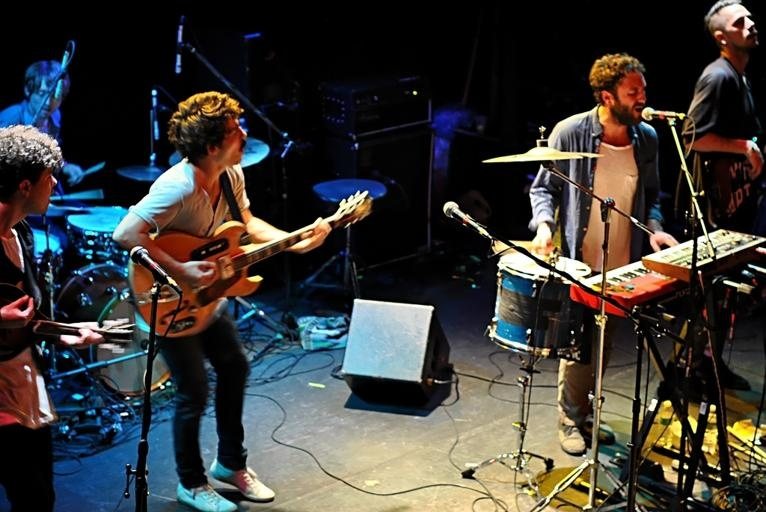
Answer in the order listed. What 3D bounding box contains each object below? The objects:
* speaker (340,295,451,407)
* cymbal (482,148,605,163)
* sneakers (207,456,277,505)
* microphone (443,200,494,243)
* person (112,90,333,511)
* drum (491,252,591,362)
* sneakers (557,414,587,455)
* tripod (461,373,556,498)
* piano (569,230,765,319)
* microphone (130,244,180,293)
[{"bbox_3d":[0.227,0.976,6.437,1.008,0.748,0.976,3,-26,18],"label":"speaker"},{"bbox_3d":[1.217,-0.710,4.735,0.481,0.091,0.459,-6,10,-35],"label":"cymbal"},{"bbox_3d":[-1.036,1.703,5.087,0.636,0.236,0.218,22,24,-4],"label":"sneakers"},{"bbox_3d":[0.569,-0.203,4.247,0.321,0.276,0.458,4,13,13],"label":"microphone"},{"bbox_3d":[-1.250,0.364,4.802,1.183,3.010,0.699,-8,16,-28],"label":"person"},{"bbox_3d":[1.235,0.370,5.189,0.760,0.582,0.721,2,10,0],"label":"drum"},{"bbox_3d":[1.577,1.501,5.563,0.148,0.145,0.377,-2,14,-6],"label":"sneakers"},{"bbox_3d":[1.057,1.545,5.601,0.598,0.778,0.609,18,43,22],"label":"tripod"},{"bbox_3d":[2.125,0.126,4.852,1.469,0.495,0.541,-5,14,-22],"label":"piano"},{"bbox_3d":[-1.463,0.079,4.240,0.436,0.125,0.130,30,-3,14],"label":"microphone"}]
